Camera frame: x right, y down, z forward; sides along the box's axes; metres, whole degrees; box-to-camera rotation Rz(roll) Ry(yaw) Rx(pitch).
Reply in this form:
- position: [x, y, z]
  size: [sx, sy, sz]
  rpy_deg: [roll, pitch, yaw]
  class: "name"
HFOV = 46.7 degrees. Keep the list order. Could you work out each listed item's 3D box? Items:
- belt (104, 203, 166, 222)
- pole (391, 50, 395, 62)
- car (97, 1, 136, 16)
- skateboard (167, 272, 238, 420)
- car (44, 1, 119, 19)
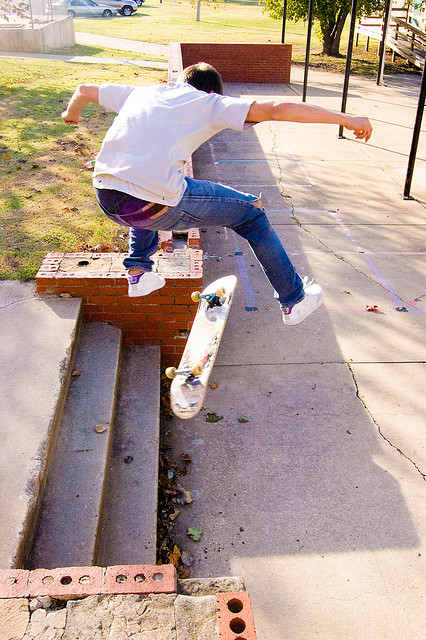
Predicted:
- position: [-0.397, -0.607, 2.866]
  size: [0.125, 0.037, 0.223]
  rpy_deg: [18, 34, 32]
  class: "belt"
- position: [9.075, -13.316, 24.897]
  size: [0.170, 0.686, 0.104]
  rpy_deg: [5, -1, 17]
  class: "pole"
- position: [-7.368, -24.207, 38.262]
  size: [2.530, 1.097, 1.068]
  rpy_deg: [-3, 74, -1]
  class: "car"
- position: [-0.039, 0.104, 3.675]
  size: [0.328, 0.217, 1.540]
  rpy_deg: [-9, 43, 31]
  class: "skateboard"
- position: [-9.679, -22.681, 36.122]
  size: [2.431, 1.171, 6.051]
  rpy_deg: [18, 31, 24]
  class: "car"
